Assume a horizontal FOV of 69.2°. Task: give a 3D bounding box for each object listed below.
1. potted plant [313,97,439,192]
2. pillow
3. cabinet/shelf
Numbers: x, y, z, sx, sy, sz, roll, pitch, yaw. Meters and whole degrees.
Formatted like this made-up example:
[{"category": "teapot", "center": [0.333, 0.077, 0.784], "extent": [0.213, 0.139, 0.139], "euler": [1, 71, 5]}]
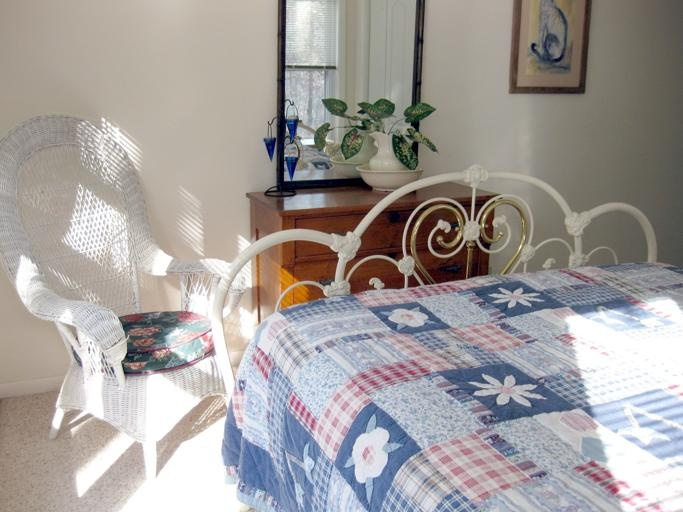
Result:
[{"category": "potted plant", "center": [0.180, -0.505, 2.516], "extent": [0.571, 0.282, 0.536], "euler": [-4, 14, -24]}, {"category": "pillow", "center": [-0.718, 0.342, 2.048], "extent": [0.344, 0.143, 0.395], "euler": [-10, 14, -20]}, {"category": "cabinet/shelf", "center": [0.193, 0.084, 2.666], "extent": [1.147, 1.056, 0.448], "euler": [-7, 35, -9]}]
